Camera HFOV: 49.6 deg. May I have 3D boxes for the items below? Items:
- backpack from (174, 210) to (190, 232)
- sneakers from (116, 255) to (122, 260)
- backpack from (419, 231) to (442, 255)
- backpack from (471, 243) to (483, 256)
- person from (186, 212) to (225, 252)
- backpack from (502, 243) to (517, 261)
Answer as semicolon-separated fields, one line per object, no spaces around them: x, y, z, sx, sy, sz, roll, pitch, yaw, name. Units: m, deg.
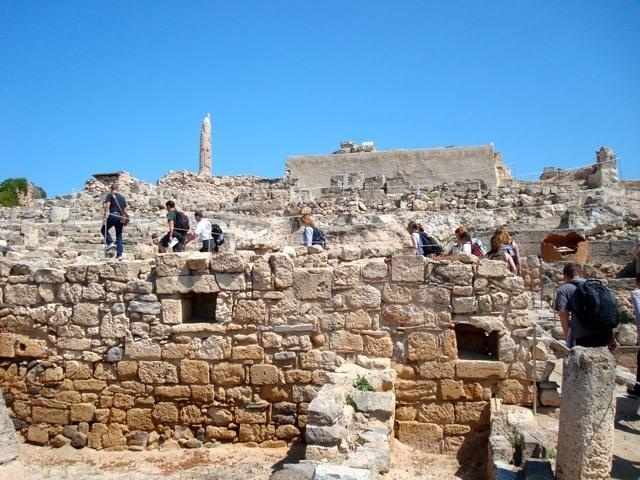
-2.258;-0.315;11.527;0.330;0.314;0.240;-2;4;-5;backpack
-3.263;0.292;11.319;0.123;0.056;0.197;0;0;-11;sneakers
1.614;0.060;10.271;0.370;0.353;0.256;-1;-1;4;backpack
2.313;0.131;10.370;0.175;0.215;0.220;6;2;-14;backpack
-1.794;-0.131;10.996;0.541;0.673;0.789;1;-5;-11;person
2.814;0.158;10.395;0.229;0.217;0.094;9;-37;-2;backpack
